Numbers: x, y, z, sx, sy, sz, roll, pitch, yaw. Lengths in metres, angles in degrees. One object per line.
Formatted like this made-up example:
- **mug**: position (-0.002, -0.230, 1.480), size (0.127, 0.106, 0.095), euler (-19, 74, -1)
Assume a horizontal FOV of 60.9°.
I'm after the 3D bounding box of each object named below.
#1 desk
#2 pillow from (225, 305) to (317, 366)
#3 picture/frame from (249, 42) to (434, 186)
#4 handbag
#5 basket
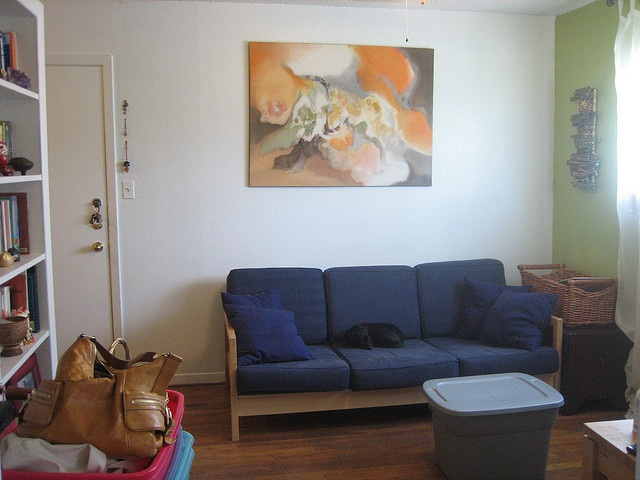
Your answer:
- **desk**: position (1.979, 0.971, 3.949), size (0.428, 0.469, 0.351), euler (2, -9, 16)
- **pillow**: position (-0.349, 0.631, 3.663), size (0.551, 0.312, 0.379), euler (-3, 14, -13)
- **picture/frame**: position (0.106, -1.014, 4.207), size (1.078, 0.827, 0.016), euler (0, 6, -8)
- **handbag**: position (-0.713, 0.635, 2.352), size (0.887, 0.349, 0.894), euler (0, 1, -7)
- **basket**: position (2.022, 0.427, 4.143), size (0.433, 0.343, 0.672), euler (1, 3, 25)
